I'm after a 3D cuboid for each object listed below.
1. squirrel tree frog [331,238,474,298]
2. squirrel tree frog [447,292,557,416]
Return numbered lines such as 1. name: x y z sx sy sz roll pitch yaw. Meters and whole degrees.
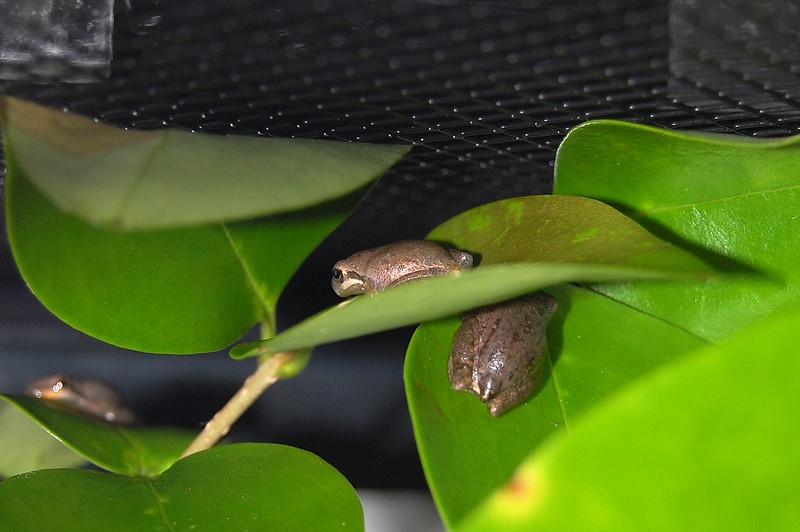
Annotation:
1. squirrel tree frog: -0.011 0.003 0.645 0.080 0.024 0.066 -8 5 33
2. squirrel tree frog: 0.077 0.062 0.571 0.072 0.075 0.078 16 27 6
